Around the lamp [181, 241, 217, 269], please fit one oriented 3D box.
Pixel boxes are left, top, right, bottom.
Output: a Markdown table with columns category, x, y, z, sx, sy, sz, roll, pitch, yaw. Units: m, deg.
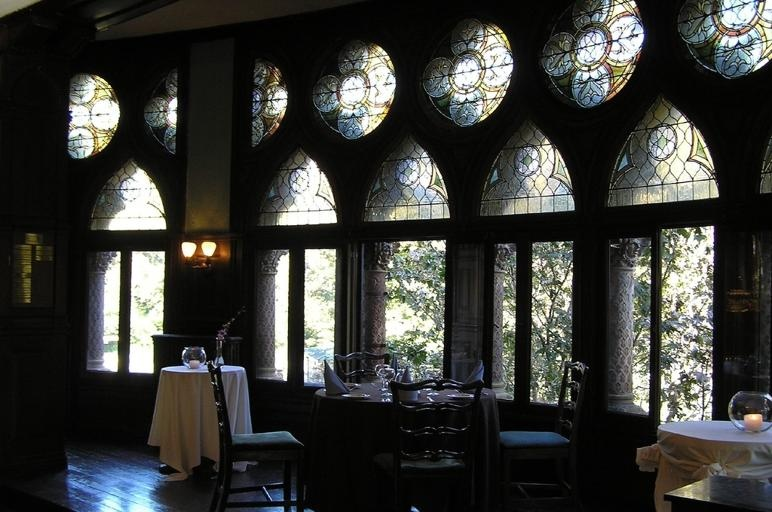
| category | x | y | z | sx | sy | sz | roll | pitch | yaw |
| --- | --- | --- | --- | --- | --- | --- | --- | --- | --- |
| lamp | -2.568 | -0.021 | 11.088 | 0.532 | 0.361 | 0.179 | 0 | -7 | 21 |

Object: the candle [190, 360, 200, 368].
| category | x | y | z | sx | sy | sz | roll | pitch | yaw |
| --- | --- | --- | --- | --- | --- | --- | --- | --- | --- |
| candle | -2.232 | 1.258 | 9.559 | 0.090 | 0.081 | 0.071 | 19 | -11 | -22 |

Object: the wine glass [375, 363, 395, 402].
| category | x | y | z | sx | sy | sz | roll | pitch | yaw |
| --- | --- | --- | --- | --- | --- | --- | --- | --- | --- |
| wine glass | -0.012 | 1.330 | 8.562 | 0.205 | 0.367 | 0.202 | 7 | -12 | -41 |

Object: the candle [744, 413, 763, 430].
| category | x | y | z | sx | sy | sz | roll | pitch | yaw |
| --- | --- | --- | --- | --- | --- | --- | --- | --- | --- |
| candle | 3.301 | 1.486 | 7.353 | 0.132 | 0.124 | 0.138 | 4 | -5 | -9 |

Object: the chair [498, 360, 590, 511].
| category | x | y | z | sx | sy | sz | roll | pitch | yaw |
| --- | --- | --- | --- | --- | --- | --- | --- | --- | --- |
| chair | 1.717 | 1.944 | 8.961 | 0.904 | 1.595 | 1.232 | 1 | -7 | 11 |

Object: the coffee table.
| category | x | y | z | sx | sy | sz | roll | pitch | yaw |
| --- | --- | --- | --- | --- | --- | --- | --- | --- | --- |
| coffee table | -2.245 | 1.986 | 9.847 | 1.160 | 1.302 | 1.213 | 7 | -14 | -30 |
